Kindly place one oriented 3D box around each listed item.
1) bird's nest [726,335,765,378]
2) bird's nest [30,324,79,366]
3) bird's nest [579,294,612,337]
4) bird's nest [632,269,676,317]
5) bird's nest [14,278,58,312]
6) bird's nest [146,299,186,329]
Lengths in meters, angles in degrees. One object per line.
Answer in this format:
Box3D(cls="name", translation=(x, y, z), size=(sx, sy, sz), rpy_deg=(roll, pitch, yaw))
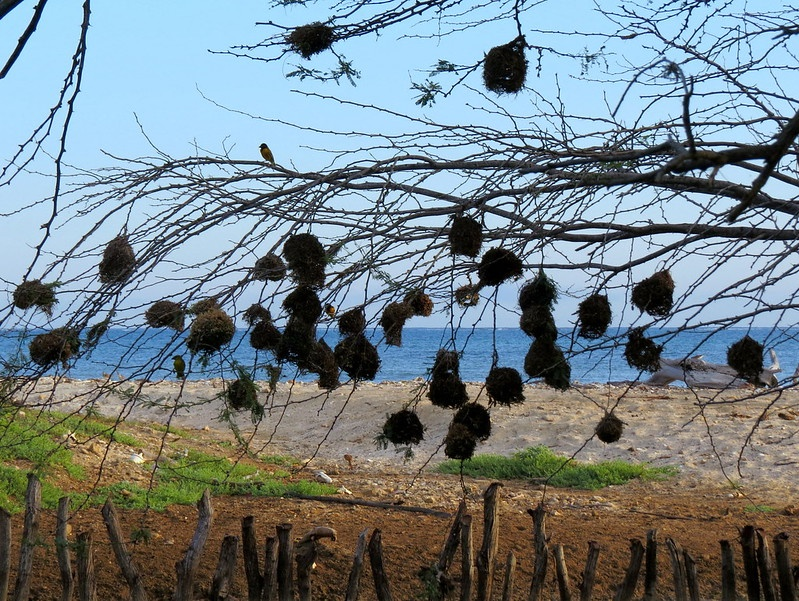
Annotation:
Box3D(cls="bird's nest", translation=(2.630, 0.436, 5.259), size=(0.294, 0.295, 0.304), rpy_deg=(-5, -14, 6))
Box3D(cls="bird's nest", translation=(-2.293, 0.310, 4.592), size=(0.289, 0.259, 0.170), rpy_deg=(-24, -52, -2))
Box3D(cls="bird's nest", translation=(1.258, 0.100, 4.472), size=(0.234, 0.277, 0.166), rpy_deg=(3, -4, 17))
Box3D(cls="bird's nest", translation=(1.618, -0.027, 4.389), size=(0.267, 0.310, 0.140), rpy_deg=(24, 2, 7))
Box3D(cls="bird's nest", translation=(-2.243, -0.041, 4.232), size=(0.240, 0.148, 0.223), rpy_deg=(0, -5, 1))
Box3D(cls="bird's nest", translation=(-1.435, 0.092, 4.236), size=(0.203, 0.158, 0.193), rpy_deg=(1, -3, 23))
